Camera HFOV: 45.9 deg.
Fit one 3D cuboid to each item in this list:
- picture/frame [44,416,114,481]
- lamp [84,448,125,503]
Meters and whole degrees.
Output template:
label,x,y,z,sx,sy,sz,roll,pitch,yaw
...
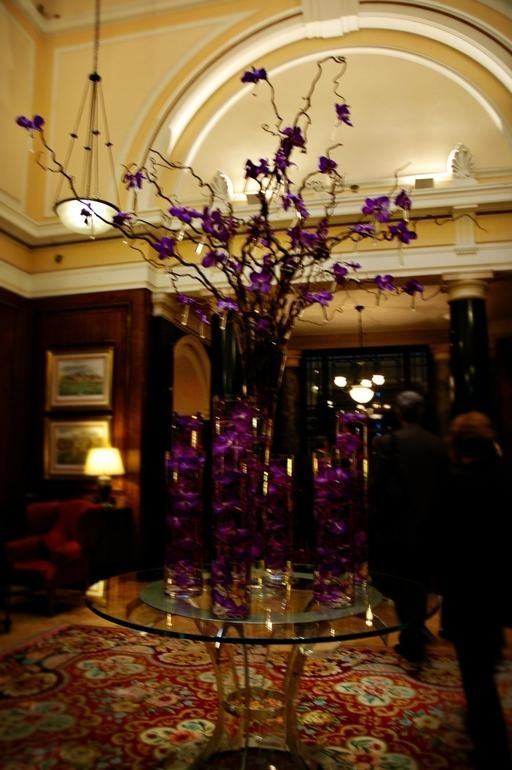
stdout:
label,x,y,z,sx,sy,sz,roll,pitch,yaw
picture/frame,-1.642,0.612,5.683,0.625,0.540,0.047,-1,-5,16
lamp,-1.332,0.805,5.358,0.315,0.509,0.542,2,-8,-11
